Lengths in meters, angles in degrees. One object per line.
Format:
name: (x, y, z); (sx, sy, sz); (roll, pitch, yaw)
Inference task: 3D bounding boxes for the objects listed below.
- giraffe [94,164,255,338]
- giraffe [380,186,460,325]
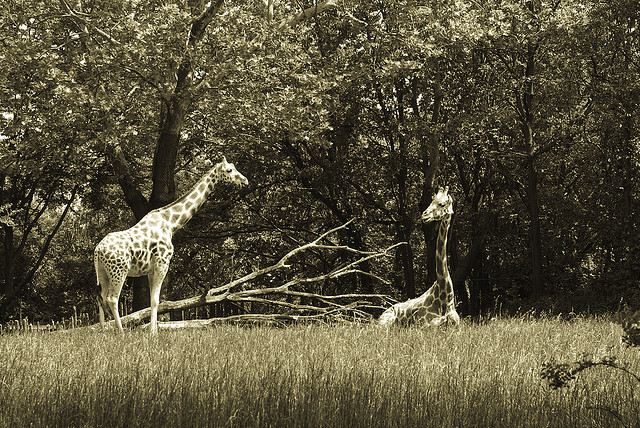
giraffe: (-4.322, 0.882, 22.793); (3.252, 4.553, 1.150); (1, -9, -17)
giraffe: (2.747, 1.091, 22.193); (1.768, 3.511, 1.631); (0, -9, -15)
